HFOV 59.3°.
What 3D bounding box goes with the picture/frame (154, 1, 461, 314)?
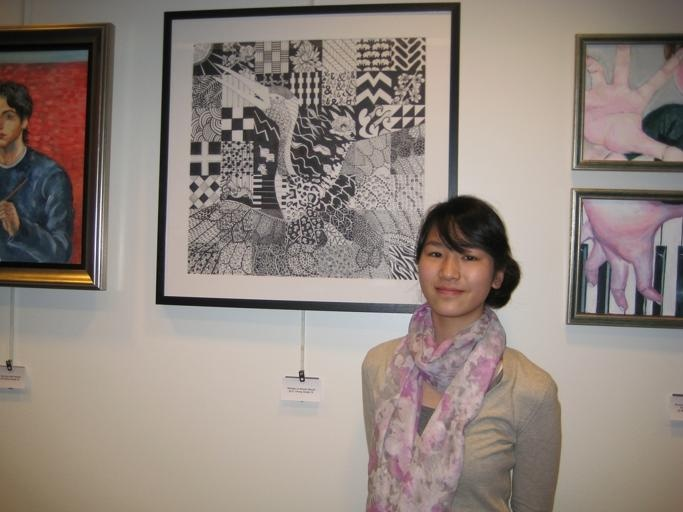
[{"bbox_3d":[-0.076,-0.331,2.117,0.977,1.110,0.036,0,0,8],"label":"picture/frame"}]
